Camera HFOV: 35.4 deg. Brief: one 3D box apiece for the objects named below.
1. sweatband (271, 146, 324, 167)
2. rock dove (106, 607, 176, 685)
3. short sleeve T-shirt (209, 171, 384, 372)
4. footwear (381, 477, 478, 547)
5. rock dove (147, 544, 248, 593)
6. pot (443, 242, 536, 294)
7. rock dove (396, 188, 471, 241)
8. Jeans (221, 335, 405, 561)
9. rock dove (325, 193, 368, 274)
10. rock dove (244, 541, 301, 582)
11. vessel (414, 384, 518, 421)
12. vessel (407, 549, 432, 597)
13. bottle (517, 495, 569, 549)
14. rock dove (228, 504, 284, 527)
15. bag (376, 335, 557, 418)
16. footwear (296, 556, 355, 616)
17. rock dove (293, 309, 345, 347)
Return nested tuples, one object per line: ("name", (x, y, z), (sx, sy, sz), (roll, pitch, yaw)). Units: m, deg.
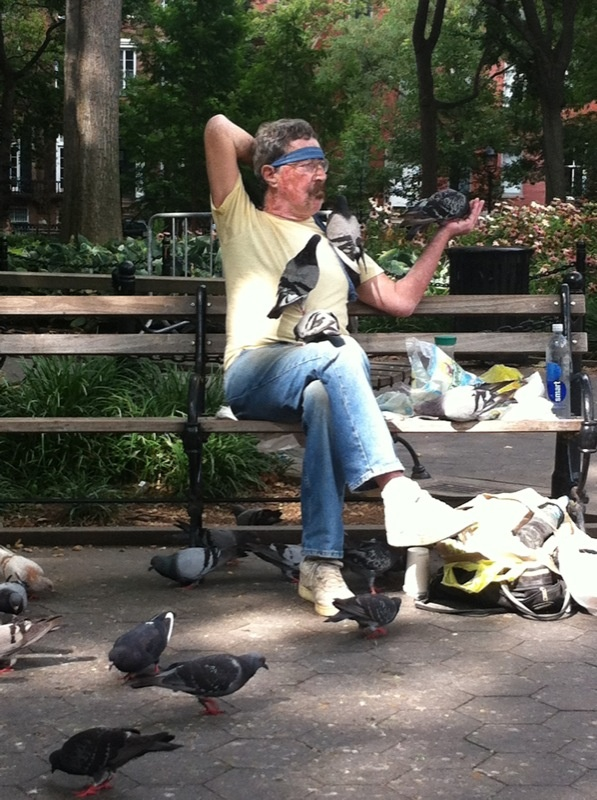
("sweatband", (0.000, -0.958, 3.699), (0.140, 0.028, 0.104), (-6, 6, 2))
("rock dove", (-0.420, 0.681, 2.621), (0.123, 0.158, 0.256), (5, 10, 30))
("short sleeve T-shirt", (-0.095, -0.393, 3.868), (0.654, 0.924, 0.335), (7, -21, -4))
("footwear", (0.431, 0.355, 3.063), (0.321, 0.220, 0.098), (-3, 8, -21))
("rock dove", (-0.389, 0.590, 3.471), (0.380, 0.132, 0.130), (-19, 7, 3))
("pot", (1.979, -1.347, 10.196), (0.799, 0.661, 0.723), (-1, 5, -23))
("rock dove", (0.564, -0.766, 3.860), (0.407, 0.195, 0.153), (-2, 11, -1))
("Jeans", (0.038, 0.155, 3.335), (0.342, 0.751, 0.733), (-4, 8, -22))
("rock dove", (0.195, -0.710, 3.937), (0.152, 0.341, 0.215), (1, -40, -19))
("rock dove", (-0.104, 0.602, 3.480), (0.186, 0.065, 0.134), (16, 8, 15))
("vessel", (0.686, 0.010, 3.629), (0.439, 0.137, 0.184), (-3, 7, -26))
("vessel", (0.423, 0.628, 3.375), (0.088, 0.188, 0.081), (0, 8, 7))
("bottle", (0.894, 0.448, 3.474), (0.095, 0.093, 0.374), (3, 13, 29))
("rock dove", (-0.188, 0.511, 4.235), (0.262, 0.148, 0.090), (2, 20, 9))
("bag", (0.647, -0.081, 3.636), (0.548, 0.183, 0.362), (-1, 7, -3))
("footwear", (0.025, 0.626, 3.182), (0.111, 0.156, 0.292), (0, -2, -31))
("rock dove", (0.076, -0.262, 3.365), (0.138, 0.071, 0.171), (-3, 16, -13))
